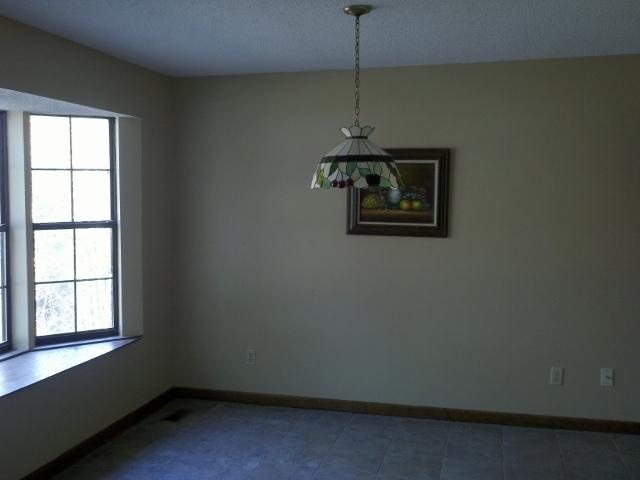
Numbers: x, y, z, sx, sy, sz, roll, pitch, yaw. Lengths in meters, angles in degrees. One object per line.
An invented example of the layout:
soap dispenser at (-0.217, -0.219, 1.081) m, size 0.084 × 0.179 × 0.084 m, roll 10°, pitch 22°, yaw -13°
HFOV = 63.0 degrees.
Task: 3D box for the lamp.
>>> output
lamp at (0.213, -0.885, 3.327) m, size 0.483 × 1.106 × 1.387 m, roll 0°, pitch 9°, yaw 2°
